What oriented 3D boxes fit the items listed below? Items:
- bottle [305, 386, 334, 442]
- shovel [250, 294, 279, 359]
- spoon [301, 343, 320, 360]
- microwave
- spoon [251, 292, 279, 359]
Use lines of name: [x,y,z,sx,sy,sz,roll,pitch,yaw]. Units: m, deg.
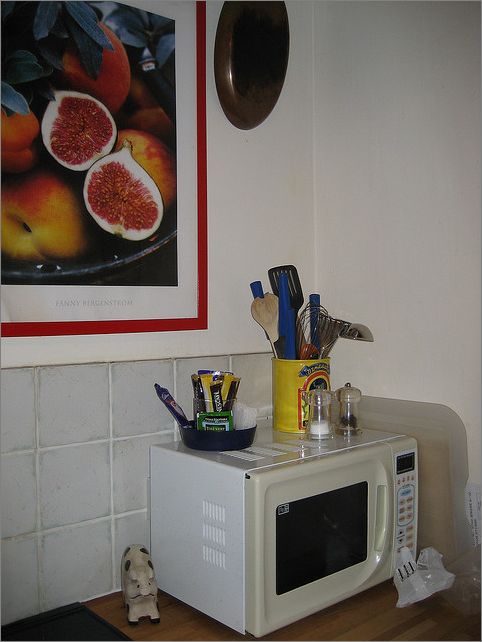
bottle: [0.150,0.177,1.008,0.044,0.096,0.047,6,11,-1]
shovel: [0.055,0.005,1.155,0.059,0.132,0.048,-2,1,4]
spoon: [0.146,0.065,1.100,0.041,0.031,0.052,-3,1,2]
microwave: [0.057,0.280,1.018,0.409,0.291,0.391,-3,8,-35]
spoon: [0.050,0.014,1.143,0.044,0.126,0.075,-2,8,-11]
